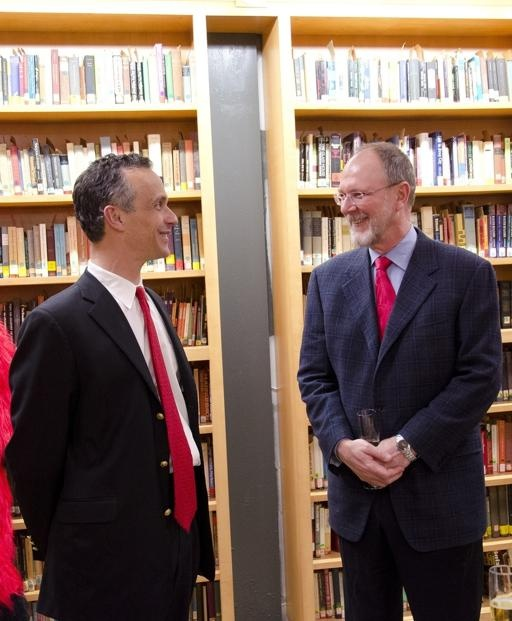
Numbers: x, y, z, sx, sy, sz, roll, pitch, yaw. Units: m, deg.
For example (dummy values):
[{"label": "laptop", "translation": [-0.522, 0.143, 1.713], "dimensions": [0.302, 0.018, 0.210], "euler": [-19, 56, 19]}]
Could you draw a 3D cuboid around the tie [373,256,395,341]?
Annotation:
[{"label": "tie", "translation": [0.397, -0.045, 1.821], "dimensions": [0.047, 0.282, 0.034], "euler": [10, -36, 4]}]

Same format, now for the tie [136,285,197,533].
[{"label": "tie", "translation": [-0.237, 0.266, 1.590], "dimensions": [0.116, 0.648, 0.176], "euler": [-4, 0, -21]}]
